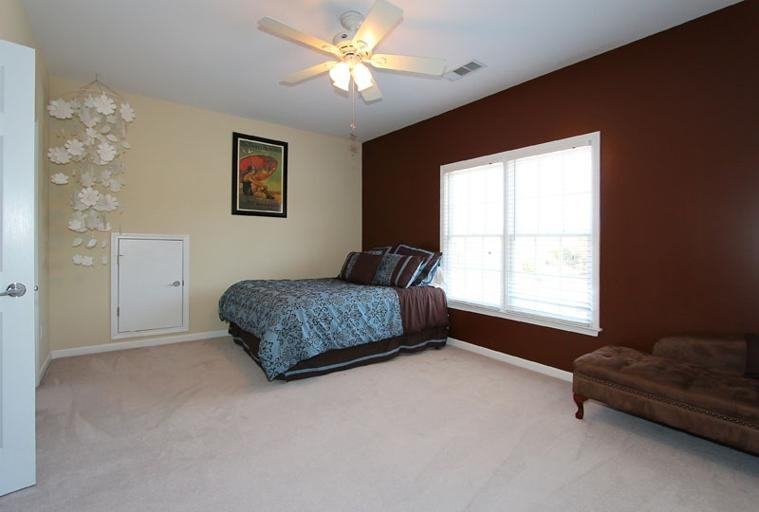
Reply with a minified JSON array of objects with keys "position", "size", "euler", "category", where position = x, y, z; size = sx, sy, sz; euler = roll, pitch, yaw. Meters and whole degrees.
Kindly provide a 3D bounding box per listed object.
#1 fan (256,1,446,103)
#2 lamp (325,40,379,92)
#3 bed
[{"position":[-0.182,-1.792,4.449],"size":[1.115,0.470,1.037],"euler":[-3,-11,14],"category":"fan"},{"position":[-0.238,-1.708,4.444],"size":[0.421,0.167,0.433],"euler":[-6,-15,15],"category":"lamp"},{"position":[-0.515,0.796,5.939],"size":[2.280,0.879,1.398],"euler":[-2,4,-32],"category":"bed"}]
